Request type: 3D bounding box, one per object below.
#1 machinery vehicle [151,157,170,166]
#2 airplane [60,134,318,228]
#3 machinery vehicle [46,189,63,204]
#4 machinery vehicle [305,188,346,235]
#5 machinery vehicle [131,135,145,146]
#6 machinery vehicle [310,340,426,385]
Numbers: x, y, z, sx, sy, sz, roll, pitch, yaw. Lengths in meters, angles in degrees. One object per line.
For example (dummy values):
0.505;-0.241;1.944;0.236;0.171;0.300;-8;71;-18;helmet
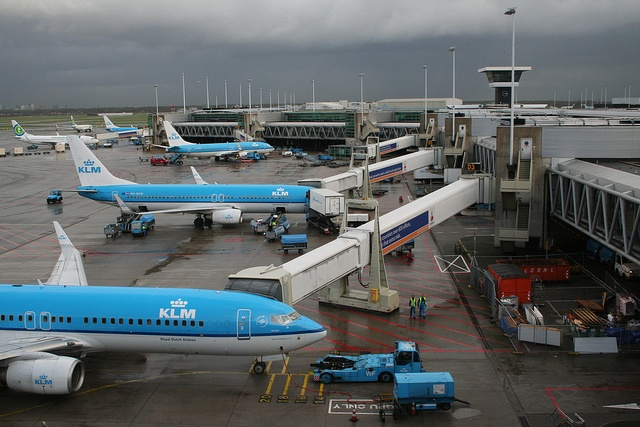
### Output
-45.342;-13.905;166.514;4.701;2.076;2.626;-2;26;3;machinery vehicle
-17.793;-4.366;91.077;39.969;11.305;32.649;1;11;-7;airplane
-49.681;-2.791;110.447;2.265;1.455;2.810;-1;1;-2;machinery vehicle
0.782;-0.339;88.873;4.787;5.178;7.865;0;11;-22;machinery vehicle
-74.592;-29.443;242.927;8.331;3.170;9.843;-1;12;-11;machinery vehicle
3.918;12.532;49.248;7.268;2.065;3.760;-1;4;2;machinery vehicle
